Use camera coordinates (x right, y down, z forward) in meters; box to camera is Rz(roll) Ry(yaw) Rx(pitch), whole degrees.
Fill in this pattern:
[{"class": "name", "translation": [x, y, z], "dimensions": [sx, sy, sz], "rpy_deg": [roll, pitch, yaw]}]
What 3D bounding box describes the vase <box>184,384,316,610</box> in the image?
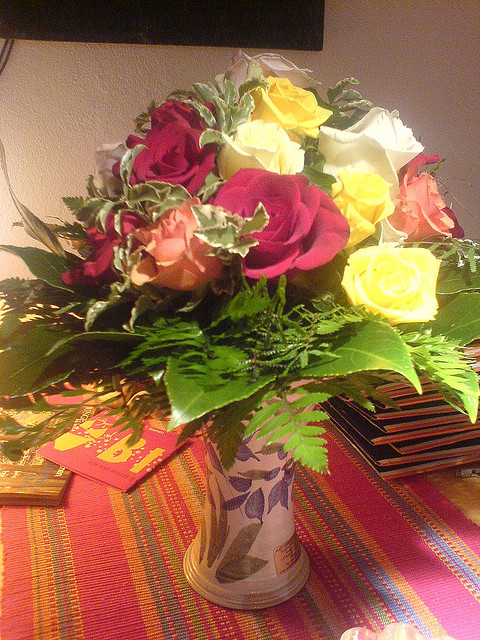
[{"class": "vase", "translation": [0.005, 0.147, 0.420], "dimensions": [0.114, 0.147, 0.113], "rpy_deg": [-2, -11, 27]}]
